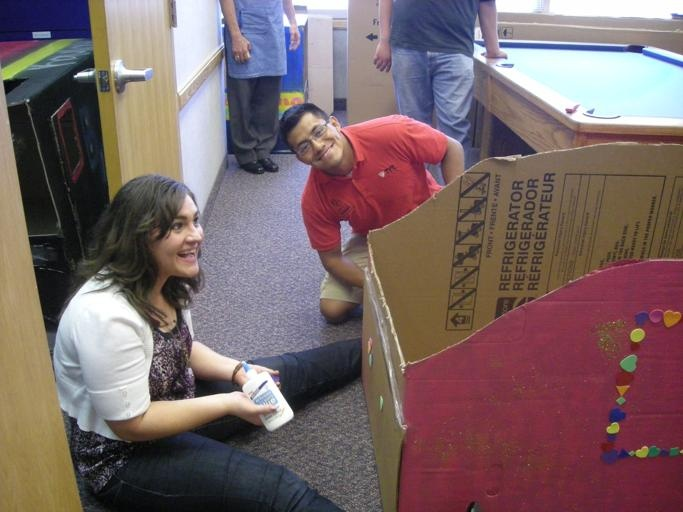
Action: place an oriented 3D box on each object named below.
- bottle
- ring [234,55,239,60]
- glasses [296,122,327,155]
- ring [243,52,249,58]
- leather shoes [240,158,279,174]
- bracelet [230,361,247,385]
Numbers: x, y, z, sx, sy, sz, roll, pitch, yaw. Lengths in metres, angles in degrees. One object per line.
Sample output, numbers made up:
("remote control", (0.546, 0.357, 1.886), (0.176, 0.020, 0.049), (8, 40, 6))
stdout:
("bottle", (-0.223, 0.396, 1.530), (0.102, 0.056, 0.242), (-16, 45, -18))
("ring", (-0.719, -1.343, 3.594), (0.026, 0.028, 0.008), (3, 42, 8))
("glasses", (-0.113, -0.439, 2.009), (0.035, 0.113, 0.116), (47, 15, -1))
("ring", (-0.648, -1.354, 3.593), (0.026, 0.038, 0.012), (-2, 53, -8))
("leather shoes", (-0.602, -0.663, 3.924), (0.226, 0.088, 0.137), (6, 24, 29))
("bracelet", (-0.312, 0.362, 1.656), (0.018, 0.072, 0.071), (15, 46, 0))
